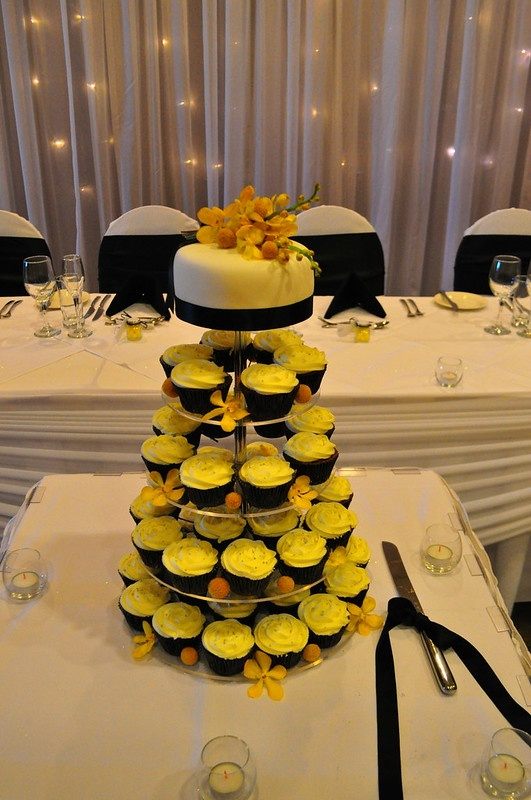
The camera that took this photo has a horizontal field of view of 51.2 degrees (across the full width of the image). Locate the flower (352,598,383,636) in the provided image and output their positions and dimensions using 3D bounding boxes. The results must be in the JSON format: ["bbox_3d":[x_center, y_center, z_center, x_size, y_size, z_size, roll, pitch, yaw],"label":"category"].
[{"bbox_3d":[0.142,0.307,0.781,0.041,0.015,0.042,2,62,9],"label":"flower"}]

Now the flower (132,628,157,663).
[{"bbox_3d":[-0.162,0.327,0.741,0.031,0.023,0.039,-4,28,-9],"label":"flower"}]

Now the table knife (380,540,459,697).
[{"bbox_3d":[0.218,0.312,0.779,0.031,0.024,0.277,-8,21,3],"label":"table knife"}]

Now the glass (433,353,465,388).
[{"bbox_3d":[0.488,-0.074,1.514,0.082,0.080,0.082,-2,26,1],"label":"glass"}]

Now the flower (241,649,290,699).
[{"bbox_3d":[-0.002,0.344,0.689,0.053,0.035,0.049,5,28,8],"label":"flower"}]

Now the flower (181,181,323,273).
[{"bbox_3d":[-0.007,-0.197,0.692,0.141,0.065,0.106,-4,68,11],"label":"flower"}]

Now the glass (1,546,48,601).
[{"bbox_3d":[-0.362,0.265,0.832,0.067,0.067,0.068,1,49,-4],"label":"glass"}]

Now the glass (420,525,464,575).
[{"bbox_3d":[0.279,0.241,0.920,0.074,0.071,0.075,8,7,29],"label":"glass"}]

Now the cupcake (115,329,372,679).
[{"bbox_3d":[-0.024,0.136,0.846,0.399,0.463,0.435,-1,32,-2],"label":"cupcake"}]

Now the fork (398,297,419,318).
[{"bbox_3d":[0.534,-0.337,2.044,0.040,0.010,0.112,-1,29,1],"label":"fork"}]
